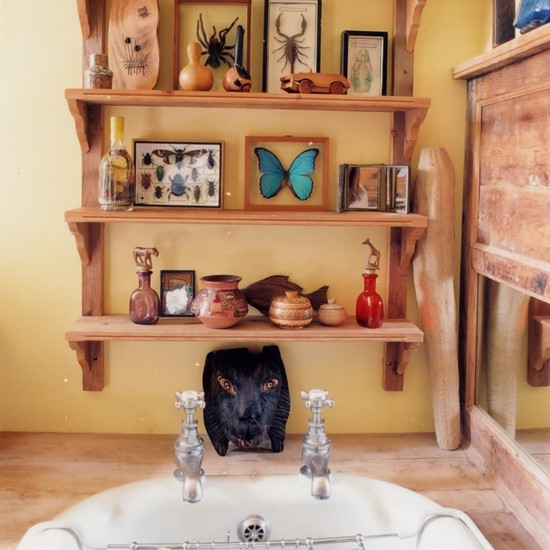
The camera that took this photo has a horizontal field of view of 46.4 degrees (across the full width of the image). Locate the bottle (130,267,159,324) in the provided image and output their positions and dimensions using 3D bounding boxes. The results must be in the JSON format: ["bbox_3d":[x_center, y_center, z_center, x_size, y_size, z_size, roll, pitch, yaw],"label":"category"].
[{"bbox_3d":[-0.418,0.060,2.039,0.094,0.176,0.118,-4,11,-14],"label":"bottle"}]

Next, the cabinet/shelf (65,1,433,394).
[{"bbox_3d":[-0.097,-0.301,2.036,1.125,1.453,0.371,1,8,-2],"label":"cabinet/shelf"}]

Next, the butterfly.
[{"bbox_3d":[0.036,-0.324,2.066,0.197,0.180,0.030,2,38,1],"label":"butterfly"}]

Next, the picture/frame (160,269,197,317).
[{"bbox_3d":[-0.318,0.054,2.106,0.144,0.213,0.022,1,1,-2],"label":"picture/frame"}]
